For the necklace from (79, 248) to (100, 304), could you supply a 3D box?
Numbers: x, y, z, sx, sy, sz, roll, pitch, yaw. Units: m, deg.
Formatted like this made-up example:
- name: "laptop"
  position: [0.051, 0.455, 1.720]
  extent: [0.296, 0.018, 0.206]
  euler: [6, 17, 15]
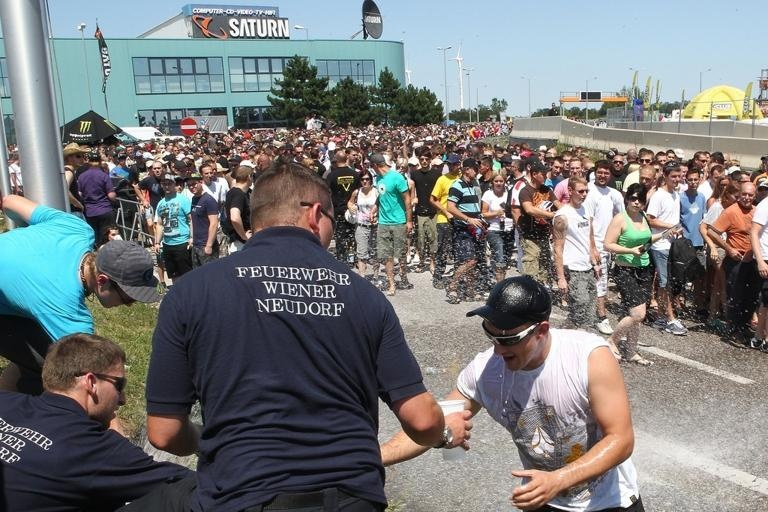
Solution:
- name: "necklace"
  position: [-2.195, 0.172, 5.373]
  extent: [0.151, 0.329, 0.242]
  euler: [-2, 10, -21]

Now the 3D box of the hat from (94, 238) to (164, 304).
- name: "hat"
  position: [-1.824, 0.087, 5.192]
  extent: [0.533, 0.228, 0.362]
  euler: [43, 30, 9]

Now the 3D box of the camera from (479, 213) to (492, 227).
- name: "camera"
  position: [1.622, -0.577, 11.433]
  extent: [0.149, 0.208, 0.064]
  euler: [-28, 26, -36]

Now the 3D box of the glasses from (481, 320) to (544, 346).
- name: "glasses"
  position: [0.773, 0.474, 4.370]
  extent: [0.346, 0.135, 0.120]
  euler: [1, 12, 12]

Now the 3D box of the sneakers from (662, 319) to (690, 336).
- name: "sneakers"
  position: [4.076, 1.001, 10.017]
  extent: [0.159, 0.176, 0.344]
  euler: [-8, 11, -41]

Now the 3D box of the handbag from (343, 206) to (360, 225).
- name: "handbag"
  position: [-0.575, -0.739, 12.622]
  extent: [0.278, 0.237, 0.377]
  euler: [6, -2, -5]

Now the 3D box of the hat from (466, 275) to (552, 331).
- name: "hat"
  position: [0.831, 0.300, 4.423]
  extent: [0.440, 0.252, 0.292]
  euler: [0, 15, -30]

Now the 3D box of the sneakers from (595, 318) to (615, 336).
- name: "sneakers"
  position: [3.046, 0.965, 9.857]
  extent: [0.116, 0.165, 0.354]
  euler: [-5, 1, -3]

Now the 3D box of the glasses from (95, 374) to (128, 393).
- name: "glasses"
  position: [-1.771, 0.800, 4.628]
  extent: [0.132, 0.046, 0.130]
  euler: [14, 0, 6]

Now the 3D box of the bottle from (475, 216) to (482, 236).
- name: "bottle"
  position: [1.555, -0.454, 11.488]
  extent: [0.083, 0.248, 0.178]
  euler: [10, 7, 31]

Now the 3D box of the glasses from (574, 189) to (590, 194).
- name: "glasses"
  position: [2.618, -0.861, 9.400]
  extent: [0.222, 0.083, 0.078]
  euler: [-14, 17, -42]

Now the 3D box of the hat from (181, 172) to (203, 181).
- name: "hat"
  position: [-2.888, -1.235, 10.986]
  extent: [0.192, 0.109, 0.297]
  euler: [-1, 1, 12]

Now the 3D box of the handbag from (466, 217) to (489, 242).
- name: "handbag"
  position: [1.523, -0.434, 11.467]
  extent: [0.257, 0.369, 0.140]
  euler: [-1, 7, -16]
